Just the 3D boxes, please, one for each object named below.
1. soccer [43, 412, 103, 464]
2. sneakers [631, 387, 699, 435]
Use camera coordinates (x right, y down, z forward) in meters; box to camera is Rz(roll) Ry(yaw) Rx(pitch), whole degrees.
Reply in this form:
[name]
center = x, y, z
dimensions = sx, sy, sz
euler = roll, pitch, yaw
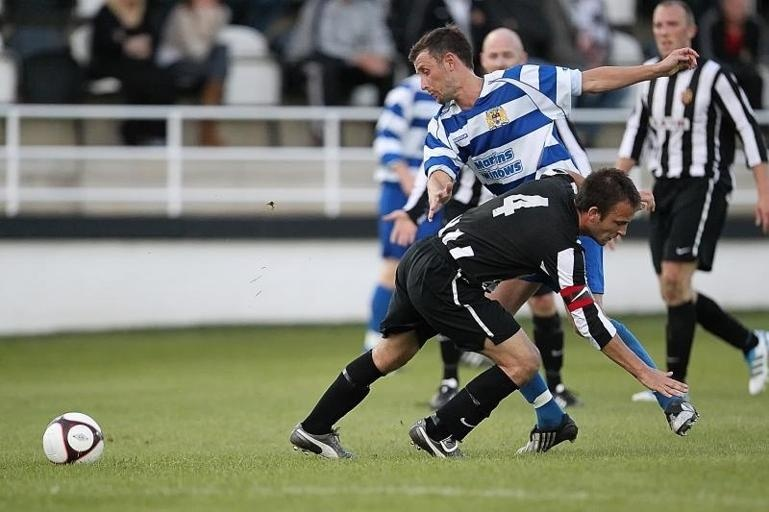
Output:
[soccer]
center = -2.317, 1.346, 10.260
dimensions = 0.368, 0.381, 0.377
euler = 11, 31, 4
[sneakers]
center = 2.144, 1.164, 10.382
dimensions = 0.430, 0.285, 0.219
euler = 29, 10, 19
